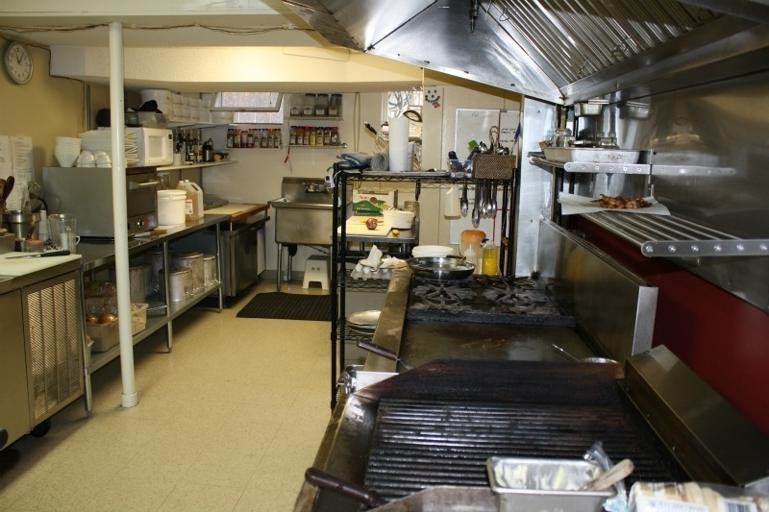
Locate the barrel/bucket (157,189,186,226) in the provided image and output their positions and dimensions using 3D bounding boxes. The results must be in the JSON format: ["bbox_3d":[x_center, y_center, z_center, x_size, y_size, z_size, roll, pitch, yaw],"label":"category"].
[{"bbox_3d":[-2.058,-0.461,5.341,0.335,0.319,0.328,1,7,0],"label":"barrel/bucket"}]

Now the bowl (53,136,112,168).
[{"bbox_3d":[-2.366,-0.814,4.448,0.449,0.230,0.265,0,4,1],"label":"bowl"}]

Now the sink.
[{"bbox_3d":[-0.871,-0.528,6.833,0.875,0.811,0.592,4,10,12],"label":"sink"}]

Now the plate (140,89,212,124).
[{"bbox_3d":[-2.365,-1.736,6.453,0.313,0.352,0.907,7,15,21],"label":"plate"}]

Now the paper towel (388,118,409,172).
[{"bbox_3d":[0.088,-0.687,3.491,0.156,0.358,0.150,-1,16,-19],"label":"paper towel"}]

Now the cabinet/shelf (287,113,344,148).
[{"bbox_3d":[-0.887,-1.580,7.040,0.705,0.365,0.263,0,14,-3],"label":"cabinet/shelf"}]

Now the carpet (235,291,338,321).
[{"bbox_3d":[-1.051,0.547,6.185,0.985,0.062,1.027,1,14,0],"label":"carpet"}]

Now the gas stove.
[{"bbox_3d":[0.525,0.204,2.929,0.775,0.052,0.725,2,14,5],"label":"gas stove"}]

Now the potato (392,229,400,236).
[{"bbox_3d":[0.099,-0.184,4.541,0.068,0.065,0.050,0,-3,14],"label":"potato"}]

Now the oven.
[{"bbox_3d":[-2.306,-0.456,4.708,0.611,0.542,0.871,0,8,-9],"label":"oven"}]

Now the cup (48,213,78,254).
[{"bbox_3d":[-2.139,-0.143,3.685,0.255,0.291,0.188,-2,8,-40],"label":"cup"}]
